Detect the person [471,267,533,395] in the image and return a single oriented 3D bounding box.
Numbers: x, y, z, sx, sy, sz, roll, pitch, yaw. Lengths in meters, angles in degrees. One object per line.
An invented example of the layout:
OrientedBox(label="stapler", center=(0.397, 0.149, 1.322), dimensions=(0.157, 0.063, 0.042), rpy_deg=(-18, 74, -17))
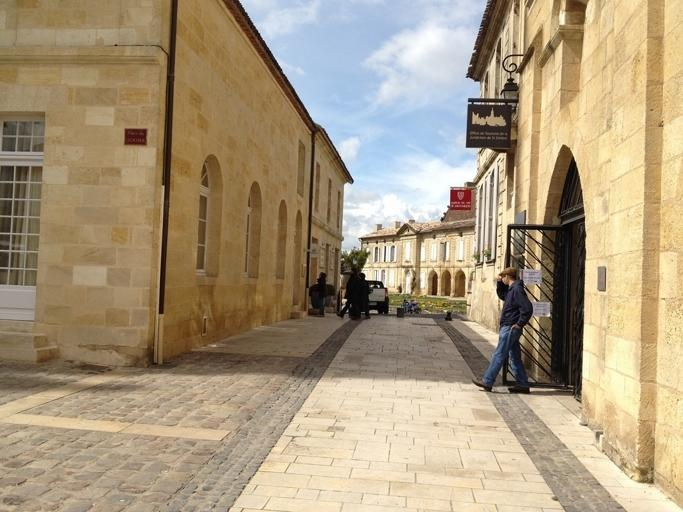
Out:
OrientedBox(label="person", center=(2.621, 1.121, 7.887), dimensions=(0.811, 1.553, 0.874), rpy_deg=(2, -1, 22))

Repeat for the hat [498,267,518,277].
OrientedBox(label="hat", center=(2.757, 0.247, 8.075), dimensions=(0.144, 0.186, 0.189), rpy_deg=(1, 10, -13))

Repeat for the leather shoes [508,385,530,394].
OrientedBox(label="leather shoes", center=(2.790, 2.044, 7.782), dimensions=(0.336, 0.152, 0.122), rpy_deg=(8, -7, 2))

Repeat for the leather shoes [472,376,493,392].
OrientedBox(label="leather shoes", center=(2.228, 1.994, 7.865), dimensions=(0.330, 0.159, 0.124), rpy_deg=(30, 7, 25))

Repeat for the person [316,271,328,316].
OrientedBox(label="person", center=(-0.809, 1.579, 21.525), dimensions=(0.427, 1.713, 1.453), rpy_deg=(3, -1, -1))
